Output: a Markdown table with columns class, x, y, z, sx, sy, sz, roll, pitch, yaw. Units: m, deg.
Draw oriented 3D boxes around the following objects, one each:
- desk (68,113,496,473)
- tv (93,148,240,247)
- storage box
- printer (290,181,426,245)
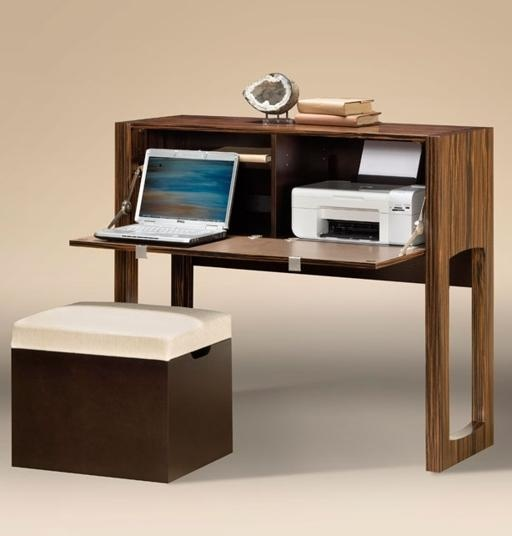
| class | x | y | z | sx | sy | sz | roll | pitch | yaw |
| --- | --- | --- | --- | --- | --- | --- | --- | --- | --- |
| desk | 0.196 | 0.126 | 2.583 | 1.911 | 1.421 | 1.162 | 3 | 6 | 29 |
| tv | -0.387 | -0.310 | 2.513 | 0.533 | 0.322 | 0.457 | 5 | 19 | 20 |
| storage box | -0.462 | 0.427 | 2.168 | 0.634 | 0.505 | 0.537 | -1 | -1 | 23 |
| printer | 0.438 | -0.203 | 2.297 | 0.462 | 0.198 | 0.342 | 8 | 11 | 36 |
